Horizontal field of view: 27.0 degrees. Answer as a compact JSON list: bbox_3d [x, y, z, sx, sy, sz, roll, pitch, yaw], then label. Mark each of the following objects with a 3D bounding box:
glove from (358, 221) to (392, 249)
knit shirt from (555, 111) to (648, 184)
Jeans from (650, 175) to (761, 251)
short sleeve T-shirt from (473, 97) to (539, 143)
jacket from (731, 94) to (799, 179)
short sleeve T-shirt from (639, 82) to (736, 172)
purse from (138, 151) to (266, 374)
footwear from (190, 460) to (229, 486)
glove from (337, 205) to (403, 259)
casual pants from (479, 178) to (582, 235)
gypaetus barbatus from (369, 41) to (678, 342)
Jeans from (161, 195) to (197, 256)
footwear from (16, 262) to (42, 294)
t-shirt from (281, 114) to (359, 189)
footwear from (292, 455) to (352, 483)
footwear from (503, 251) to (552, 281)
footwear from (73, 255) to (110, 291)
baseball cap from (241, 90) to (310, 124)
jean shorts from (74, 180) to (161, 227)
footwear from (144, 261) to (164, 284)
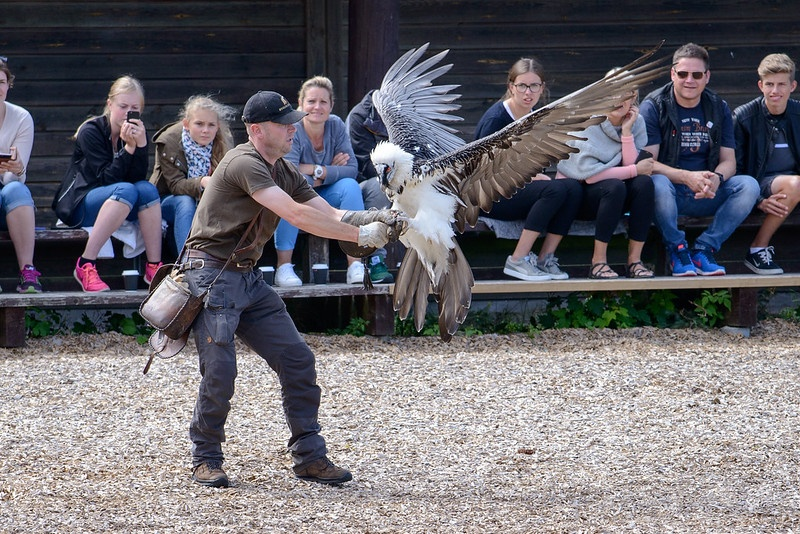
[{"bbox_3d":[-0.175,-0.244,12.199,0.247,0.182,0.136,1,10,1],"label":"glove"},{"bbox_3d":[1.824,-1.061,14.893,0.737,0.340,0.532,-14,36,-4],"label":"knit shirt"},{"bbox_3d":[2.592,-0.552,15.128,1.188,0.641,0.650,2,23,-27],"label":"Jeans"},{"bbox_3d":[0.893,-1.315,14.733,0.342,0.444,0.617,-11,2,-36],"label":"short sleeve T-shirt"},{"bbox_3d":[3.376,-1.187,15.291,0.751,0.679,0.406,-4,9,-6],"label":"jacket"},{"bbox_3d":[2.599,-1.257,15.099,0.844,0.758,0.455,1,6,-11],"label":"short sleeve T-shirt"},{"bbox_3d":[-1.469,-0.015,12.190,0.266,1.582,0.510,11,23,-48],"label":"purse"},{"bbox_3d":[-1.378,1.524,12.197,0.134,0.129,0.282,9,-12,-41],"label":"footwear"},{"bbox_3d":[-0.242,-0.299,12.393,0.530,0.185,0.392,-12,-22,25],"label":"glove"},{"bbox_3d":[1.095,-0.606,14.954,0.701,0.239,0.689,27,-11,29],"label":"casual pants"},{"bbox_3d":[0.525,-0.611,13.522,1.339,2.286,2.383,-4,12,-29],"label":"gypaetus barbatus"},{"bbox_3d":[-1.922,-0.380,14.536,0.200,0.499,0.513,4,10,-21],"label":"Jeans"},{"bbox_3d":[-3.195,0.097,14.437,0.192,0.257,0.390,-1,11,-14],"label":"footwear"},{"bbox_3d":[-0.689,-0.986,14.184,0.656,0.587,0.371,-7,12,-20],"label":"t-shirt"},{"bbox_3d":[-0.554,1.513,12.352,0.455,0.195,0.173,2,13,3],"label":"footwear"},{"bbox_3d":[1.112,-0.015,14.947,0.483,0.221,0.179,11,2,6],"label":"footwear"},{"bbox_3d":[-2.640,0.054,14.437,0.223,0.306,0.271,-8,13,-42],"label":"footwear"},{"bbox_3d":[-0.919,-1.197,12.158,0.382,0.142,0.240,-4,24,-5],"label":"baseball cap"},{"bbox_3d":[-2.467,-0.588,14.468,0.508,0.170,0.447,-10,3,23],"label":"jean shorts"},{"bbox_3d":[-1.986,0.036,13.598,0.143,0.108,0.328,21,-15,-20],"label":"footwear"}]
